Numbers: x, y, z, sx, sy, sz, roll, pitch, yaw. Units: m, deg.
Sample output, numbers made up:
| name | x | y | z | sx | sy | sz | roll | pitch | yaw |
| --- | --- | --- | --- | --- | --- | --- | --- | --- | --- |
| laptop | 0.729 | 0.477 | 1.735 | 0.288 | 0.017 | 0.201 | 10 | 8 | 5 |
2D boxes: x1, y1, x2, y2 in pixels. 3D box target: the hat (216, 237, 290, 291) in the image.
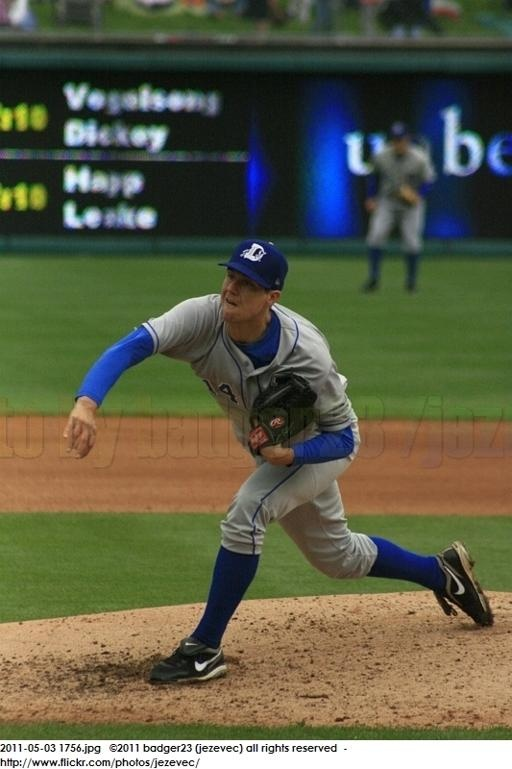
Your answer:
| name | x | y | z | sx | sy | sz | roll | pitch | yaw |
| --- | --- | --- | --- | --- | --- | --- | --- | --- | --- |
| hat | 0.012 | -0.343 | 3.417 | 0.137 | 0.109 | 0.195 | 30 | 6 | 35 |

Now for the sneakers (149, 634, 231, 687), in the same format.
| name | x | y | z | sx | sy | sz | roll | pitch | yaw |
| --- | --- | --- | --- | --- | --- | --- | --- | --- | --- |
| sneakers | -0.202 | 0.858 | 3.483 | 0.261 | 0.117 | 0.095 | 0 | 2 | -22 |

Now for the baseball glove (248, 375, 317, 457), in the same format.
| name | x | y | z | sx | sy | sz | roll | pitch | yaw |
| --- | --- | --- | --- | --- | --- | --- | --- | --- | --- |
| baseball glove | 0.072 | 0.071 | 3.492 | 0.226 | 0.103 | 0.293 | -8 | 0 | 0 |

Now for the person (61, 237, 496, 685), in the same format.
| name | x | y | z | sx | sy | sz | roll | pitch | yaw |
| --- | --- | --- | --- | --- | --- | --- | --- | --- | --- |
| person | 0.065 | 0.221 | 3.564 | 1.492 | 1.341 | 0.395 | -4 | 10 | -34 |
